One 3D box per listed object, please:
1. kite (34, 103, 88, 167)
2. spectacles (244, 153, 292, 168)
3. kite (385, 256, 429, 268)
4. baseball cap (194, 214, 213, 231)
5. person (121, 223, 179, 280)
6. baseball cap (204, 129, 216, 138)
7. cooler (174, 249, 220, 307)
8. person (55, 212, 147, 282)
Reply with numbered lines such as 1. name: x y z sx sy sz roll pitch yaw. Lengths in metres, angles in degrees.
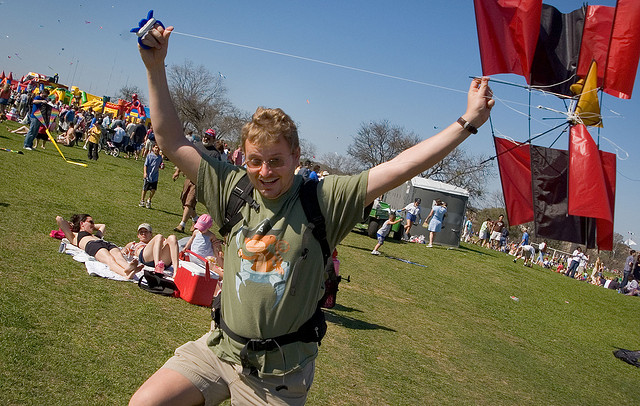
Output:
1. kite: -12.949 -3.279 18.004 1.107 2.935 4.915 -16 10 -34
2. spectacles: -0.363 -0.283 2.695 0.320 0.091 0.080 -10 9 7
3. kite: 3.804 2.659 15.933 0.211 0.068 1.815 29 -11 -41
4. baseball cap: -2.438 0.461 7.784 0.328 0.226 0.458 -14 10 -23
5. person: -3.306 0.949 7.543 1.433 1.101 1.207 -9 -9 34
6. baseball cap: -3.077 -1.993 10.547 0.240 0.189 0.409 16 0 13
7. cooler: -2.228 1.566 7.051 0.698 0.713 0.791 2 -16 22
8. person: -4.299 0.840 7.247 2.088 0.666 1.051 20 3 26
